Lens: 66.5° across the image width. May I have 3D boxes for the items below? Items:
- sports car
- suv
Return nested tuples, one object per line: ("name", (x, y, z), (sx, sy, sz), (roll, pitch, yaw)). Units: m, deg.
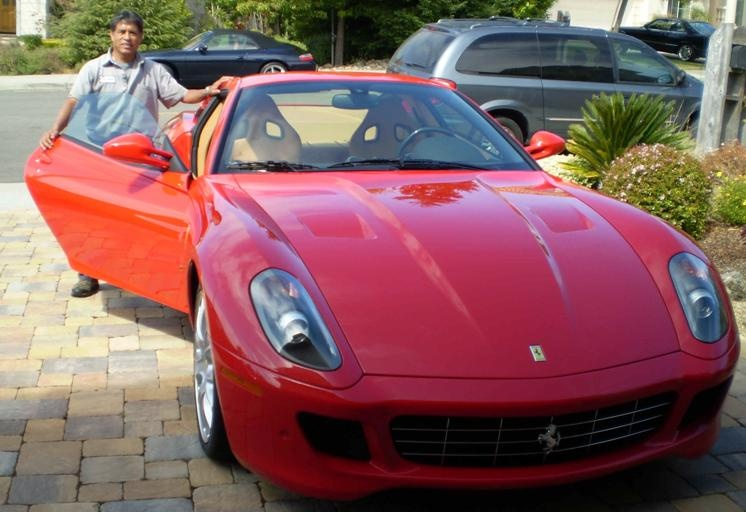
("sports car", (-0.164, 0.015, 3.405), (2.949, 0.781, 3.226), (-3, 16, -20))
("suv", (3.075, -2.972, 9.920), (5.395, 1.464, 2.373), (-4, 16, -13))
